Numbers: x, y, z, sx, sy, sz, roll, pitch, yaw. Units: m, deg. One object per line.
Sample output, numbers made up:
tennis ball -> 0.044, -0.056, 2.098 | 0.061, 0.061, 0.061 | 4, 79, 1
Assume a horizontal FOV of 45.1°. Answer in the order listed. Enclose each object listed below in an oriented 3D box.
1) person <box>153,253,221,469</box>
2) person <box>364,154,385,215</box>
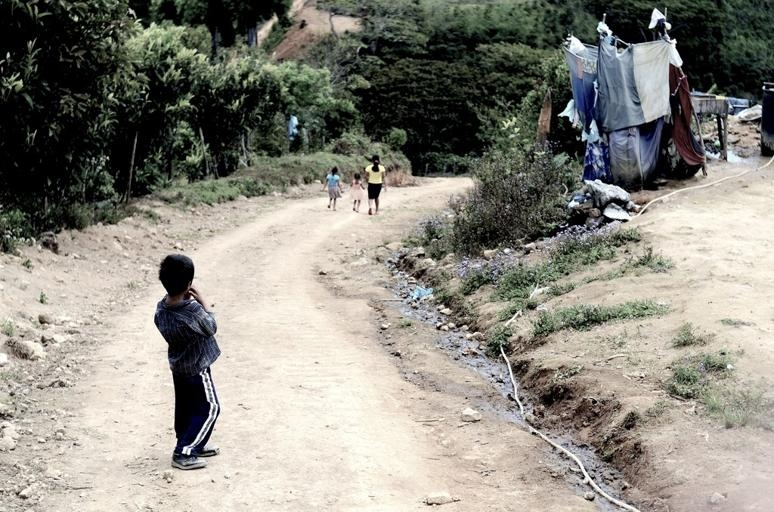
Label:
person -> -3.592, 1.916, 16.697 | 1.032, 3.950, 0.338 | -7, 11, -6
person -> -0.533, -2.507, 33.029 | 0.747, 2.092, 1.063 | 2, -3, 13
